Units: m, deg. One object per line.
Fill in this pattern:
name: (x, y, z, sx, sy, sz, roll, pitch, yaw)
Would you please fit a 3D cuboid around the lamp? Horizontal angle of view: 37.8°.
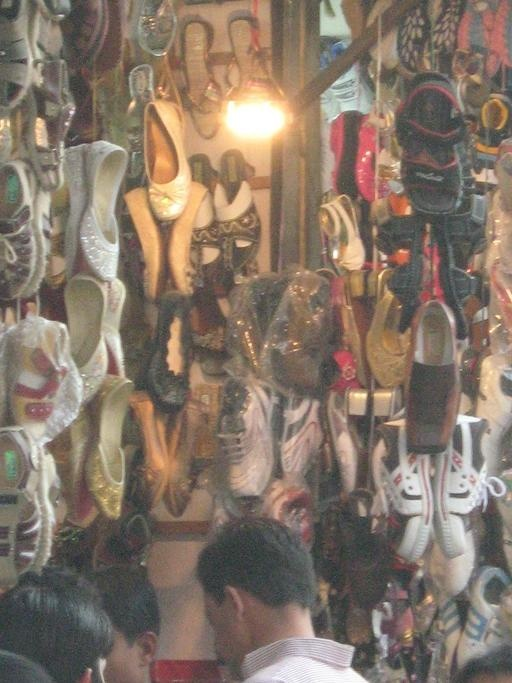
lamp: (0.006, -0.537, 1.685, 0.098, 0.229, 0.077, -3, 12, -5)
